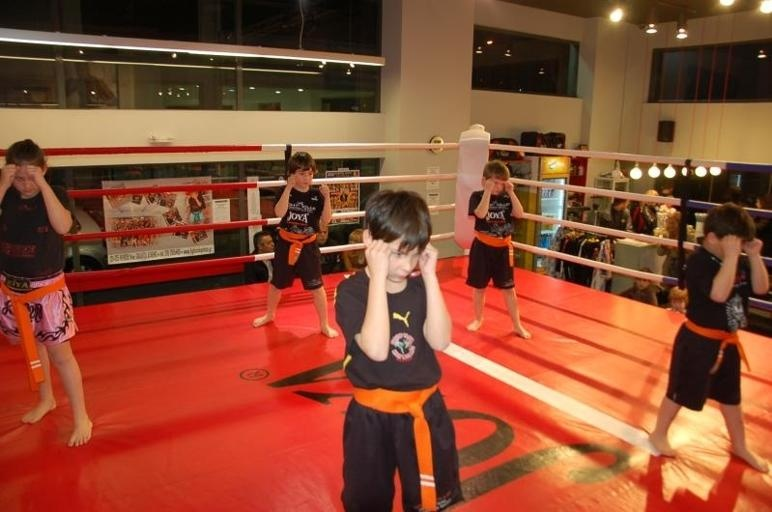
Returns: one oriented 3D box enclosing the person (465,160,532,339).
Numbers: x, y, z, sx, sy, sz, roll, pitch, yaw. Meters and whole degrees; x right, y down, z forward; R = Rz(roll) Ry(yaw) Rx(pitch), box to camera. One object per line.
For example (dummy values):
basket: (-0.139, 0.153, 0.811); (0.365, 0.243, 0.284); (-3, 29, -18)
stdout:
person: (0.978, -0.071, 4.287); (0.544, 1.438, 0.446); (2, 15, 11)

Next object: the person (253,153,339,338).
person: (-0.744, -0.096, 4.166); (0.694, 1.481, 0.361); (1, 15, 8)

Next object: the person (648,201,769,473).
person: (1.983, 0.445, 3.019); (0.628, 1.473, 0.608); (4, 16, 20)
